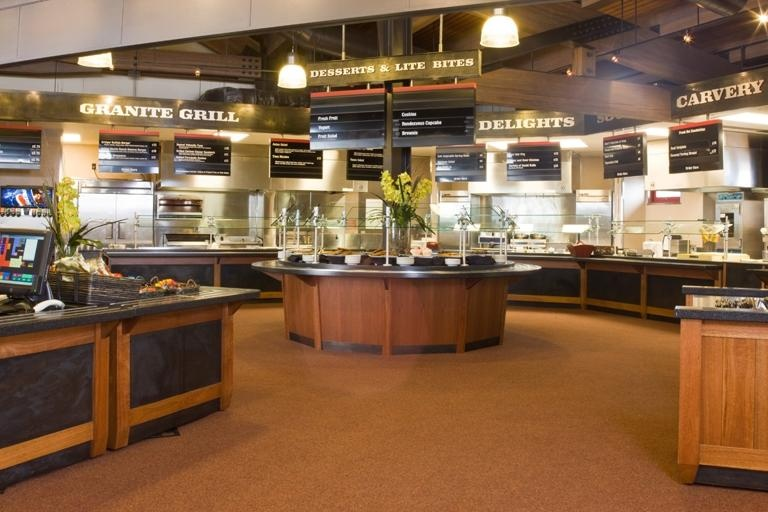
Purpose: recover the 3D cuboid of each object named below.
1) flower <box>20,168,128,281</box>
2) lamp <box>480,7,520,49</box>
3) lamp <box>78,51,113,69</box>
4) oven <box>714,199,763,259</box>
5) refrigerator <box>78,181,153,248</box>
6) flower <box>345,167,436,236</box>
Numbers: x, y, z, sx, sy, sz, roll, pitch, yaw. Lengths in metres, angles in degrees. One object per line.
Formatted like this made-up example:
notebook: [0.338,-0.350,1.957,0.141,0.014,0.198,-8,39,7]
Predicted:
flower: [-2.817,-0.111,4.818,0.707,1.136,0.568,4,0,20]
lamp: [1.326,-2.585,6.395,0.428,0.350,0.452,-1,10,-13]
lamp: [-5.092,-3.386,9.849,0.576,0.114,2.095,-4,10,-25]
oven: [7.493,-0.538,11.616,0.907,1.227,0.923,3,11,12]
refrigerator: [-5.458,-0.849,11.269,1.782,1.455,0.641,-1,-7,-6]
flower: [0.365,-0.647,7.446,0.745,0.721,0.731,3,1,12]
